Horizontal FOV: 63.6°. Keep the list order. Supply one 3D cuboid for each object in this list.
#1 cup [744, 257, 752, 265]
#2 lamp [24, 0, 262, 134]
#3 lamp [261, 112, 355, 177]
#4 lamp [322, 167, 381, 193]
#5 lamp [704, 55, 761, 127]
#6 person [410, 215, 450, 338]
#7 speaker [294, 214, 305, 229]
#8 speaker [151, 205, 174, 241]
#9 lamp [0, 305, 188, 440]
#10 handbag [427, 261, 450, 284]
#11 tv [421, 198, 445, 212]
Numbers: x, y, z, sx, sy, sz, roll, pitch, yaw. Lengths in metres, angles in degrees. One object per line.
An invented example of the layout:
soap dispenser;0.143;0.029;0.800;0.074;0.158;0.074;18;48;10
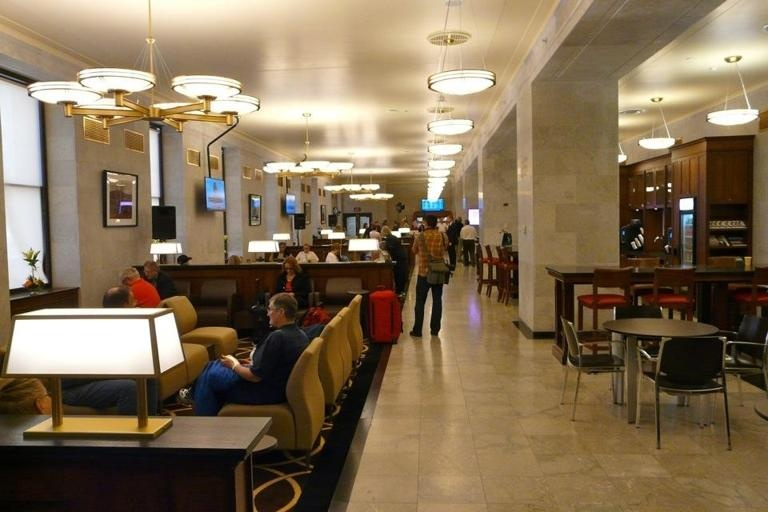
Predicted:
cup;5.330;0.072;9.102;0.152;0.109;0.139;0;-1;0
lamp;-2.797;-2.406;7.860;2.373;1.631;2.916;-2;11;3
lamp;-1.766;-2.805;14.367;2.028;1.310;1.929;0;1;-10
lamp;-1.359;-3.129;25.344;2.365;1.217;2.439;0;-1;-18
lamp;6.227;-2.963;11.024;1.065;1.118;1.050;-3;-1;9
person;0.751;0.293;10.477;0.675;2.033;1.182;-2;12;2
speaker;-2.969;-1.232;22.203;0.448;0.572;0.611;-1;3;0
speaker;-4.100;-0.610;11.580;0.595;0.771;0.564;0;-2;-24
lamp;-2.060;0.674;4.732;1.464;1.025;0.929;0;0;5
handbag;0.869;0.242;10.139;0.417;0.403;0.358;1;8;4
tv;2.719;-2.814;34.590;1.564;0.771;0.414;-11;14;-40
